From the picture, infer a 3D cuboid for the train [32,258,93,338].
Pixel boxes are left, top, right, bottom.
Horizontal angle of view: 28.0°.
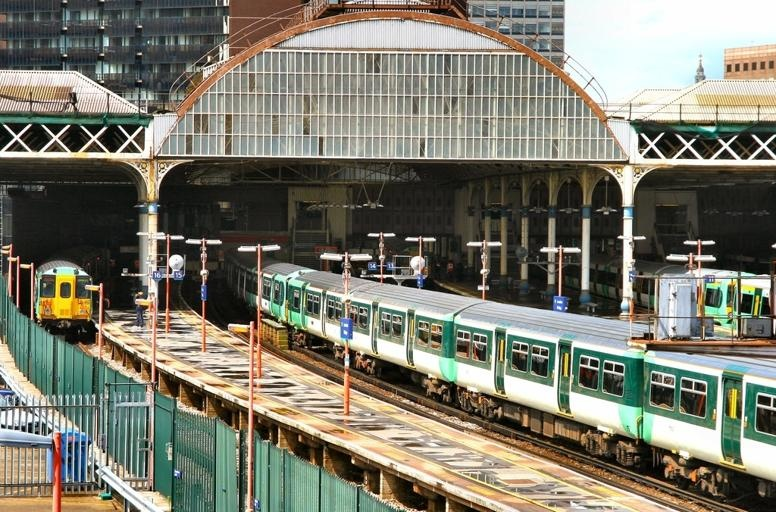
[{"bbox_3d":[-27.860,2.649,132.156,4.578,5.431,15.702,1,6,-15],"label":"train"}]
